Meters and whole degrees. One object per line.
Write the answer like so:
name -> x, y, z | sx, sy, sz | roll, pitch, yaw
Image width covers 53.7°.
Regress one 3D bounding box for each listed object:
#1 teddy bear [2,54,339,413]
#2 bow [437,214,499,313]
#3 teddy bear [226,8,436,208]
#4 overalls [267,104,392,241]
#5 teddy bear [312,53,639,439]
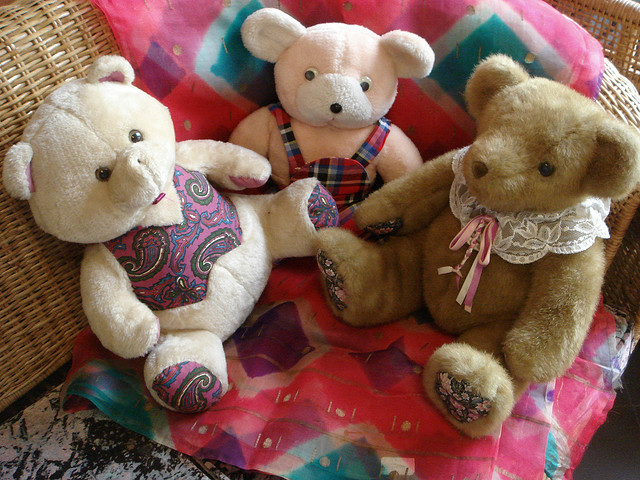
teddy bear -> -0.326, -0.050, 1.291 | 0.549, 0.408, 0.558 | 28, 62, 13
bow -> 0.310, 0.050, 1.294 | 0.077, 0.205, 0.109 | -6, 37, -37
teddy bear -> 0.066, -0.278, 1.655 | 0.606, 0.582, 0.411 | 2, 41, -6
overalls -> 0.036, -0.131, 1.583 | 0.367, 0.393, 0.291 | 0, 52, 5
teddy bear -> 0.308, 0.015, 1.298 | 0.480, 0.544, 0.541 | -29, 57, -22
